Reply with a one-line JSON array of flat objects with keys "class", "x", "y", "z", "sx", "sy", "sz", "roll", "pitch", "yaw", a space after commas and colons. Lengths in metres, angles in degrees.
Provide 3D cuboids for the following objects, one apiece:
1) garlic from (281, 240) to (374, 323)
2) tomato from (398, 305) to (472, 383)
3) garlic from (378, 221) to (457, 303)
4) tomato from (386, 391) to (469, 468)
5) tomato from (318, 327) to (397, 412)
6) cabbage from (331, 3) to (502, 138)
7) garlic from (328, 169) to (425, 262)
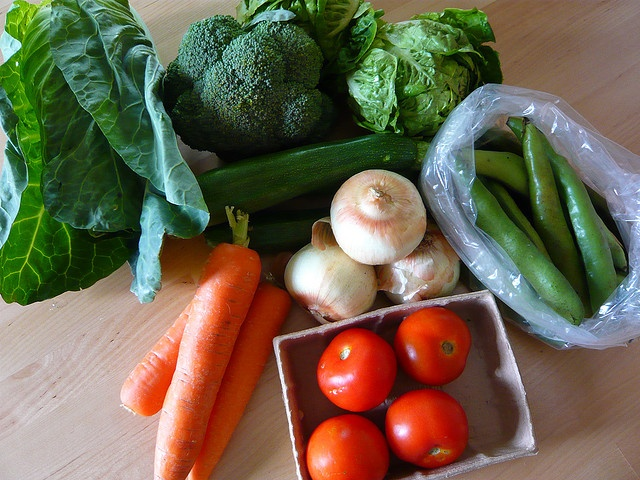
[{"class": "garlic", "x": 0.020, "y": 0.094, "z": 1.348, "sx": 0.189, "sy": 0.102, "sz": 0.130, "roll": 17, "pitch": 63, "yaw": 21}, {"class": "tomato", "x": 0.240, "y": 0.238, "z": 1.317, "sx": 0.152, "sy": 0.145, "sz": 0.143, "roll": 14, "pitch": 62, "yaw": 20}, {"class": "garlic", "x": 0.222, "y": 0.074, "z": 1.355, "sx": 0.151, "sy": 0.175, "sz": 0.096, "roll": 6, "pitch": 21, "yaw": -9}, {"class": "tomato", "x": 0.231, "y": 0.406, "z": 1.303, "sx": 0.156, "sy": 0.168, "sz": 0.154, "roll": 10, "pitch": 77, "yaw": -29}, {"class": "tomato", "x": 0.075, "y": 0.272, "z": 1.284, "sx": 0.154, "sy": 0.093, "sz": 0.162, "roll": 27, "pitch": 68, "yaw": 25}, {"class": "cabbage", "x": 0.222, "y": -0.396, "z": 1.379, "sx": 0.386, "sy": 0.217, "sz": 0.256, "roll": -15, "pitch": 56, "yaw": 3}, {"class": "garlic", "x": 0.121, "y": -0.052, "z": 1.301, "sx": 0.203, "sy": 0.130, "sz": 0.168, "roll": -18, "pitch": 56, "yaw": 1}]
